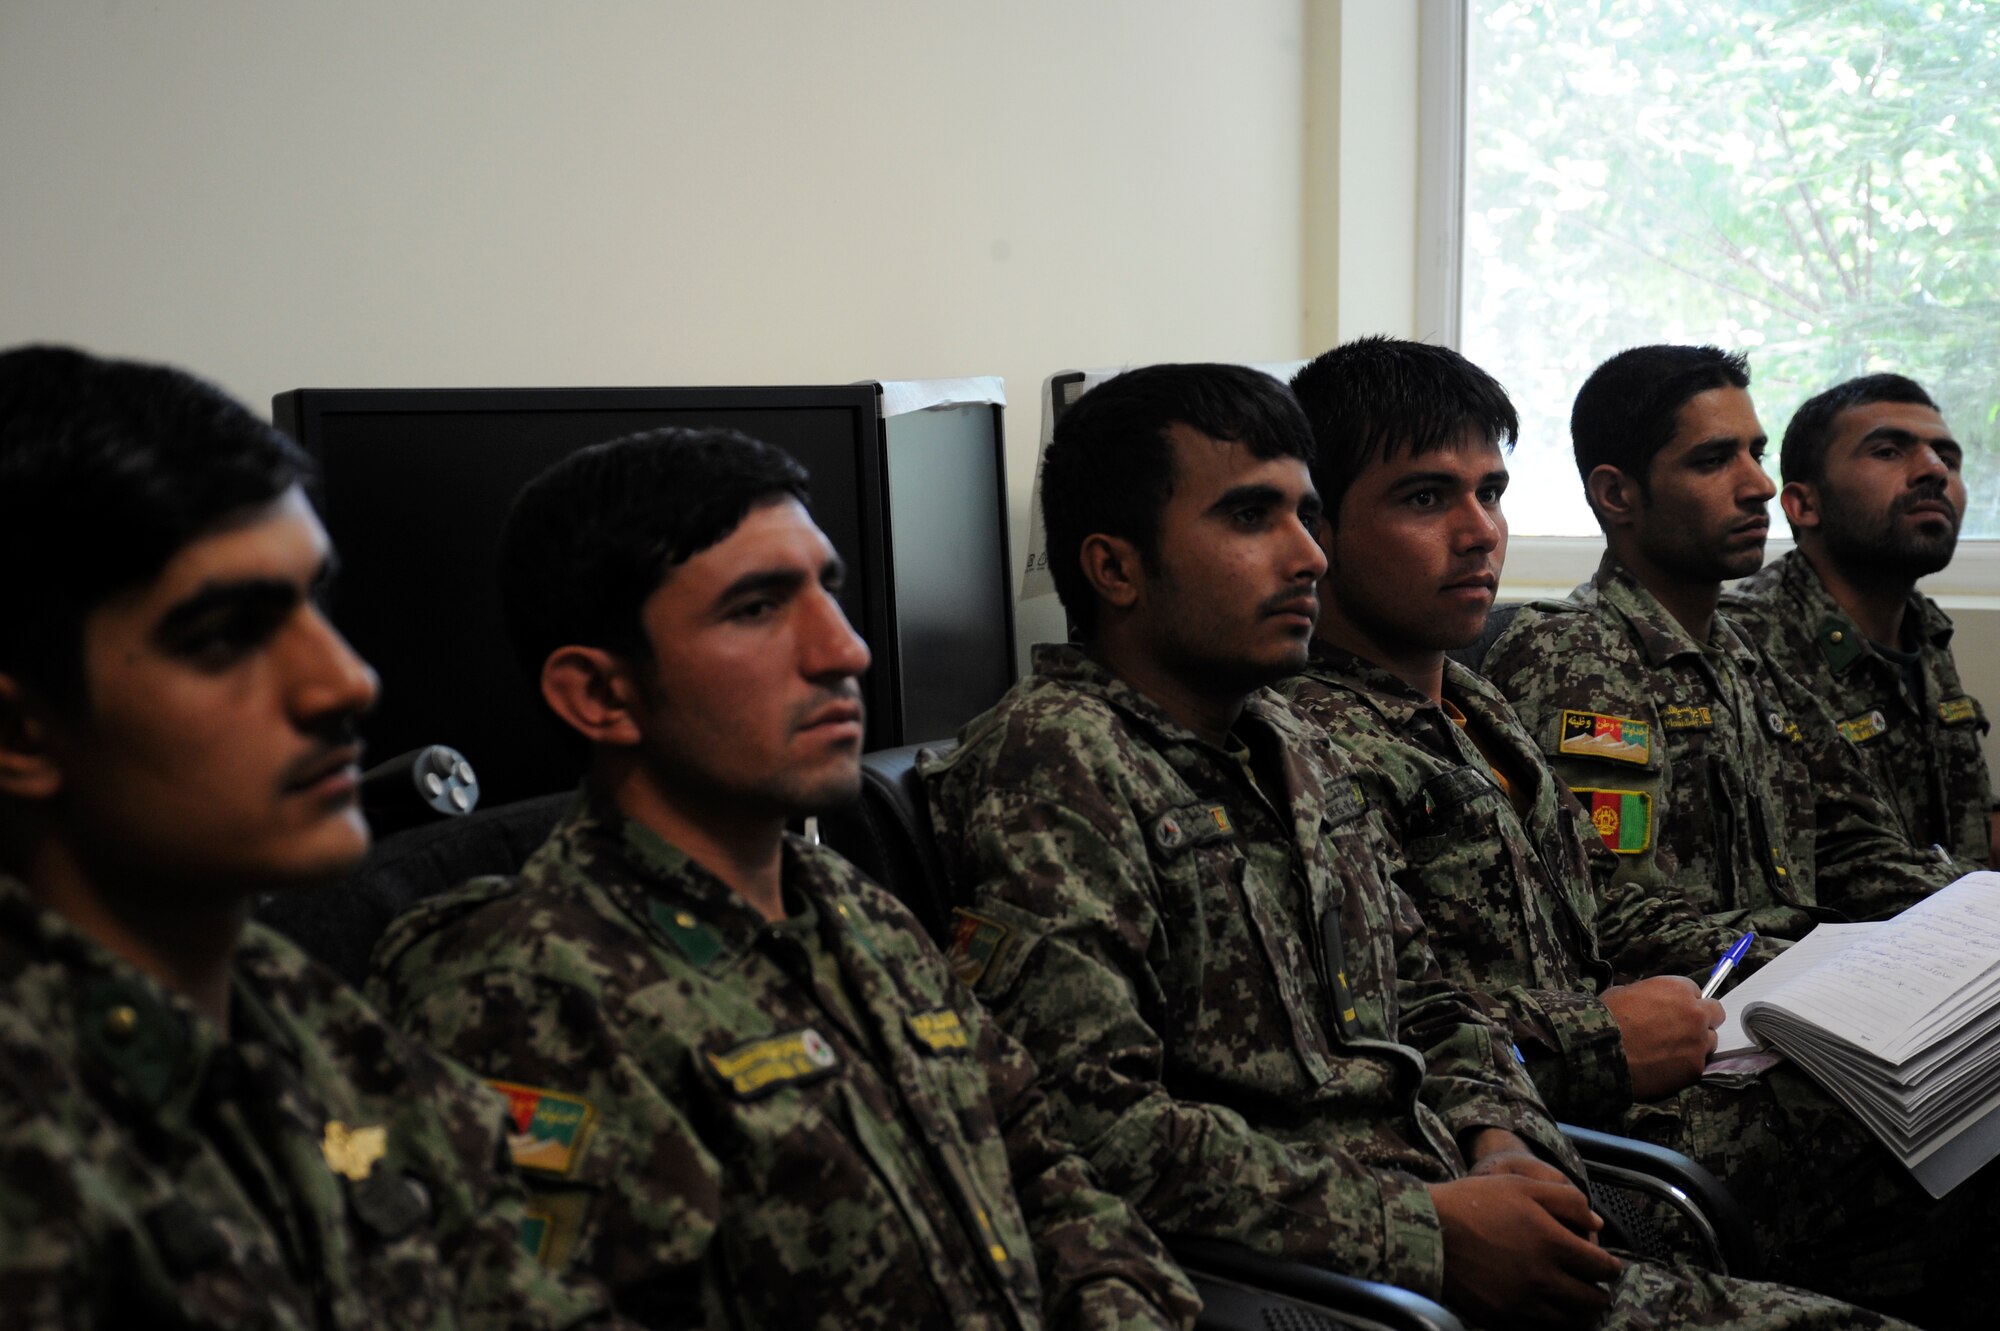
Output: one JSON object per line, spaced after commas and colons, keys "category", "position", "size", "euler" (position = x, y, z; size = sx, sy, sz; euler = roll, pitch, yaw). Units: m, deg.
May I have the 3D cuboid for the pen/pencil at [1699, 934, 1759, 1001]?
{"category": "pen/pencil", "position": [0.912, 0.387, 2.061], "size": [0.017, 0.018, 0.167], "euler": [-4, 18, 43]}

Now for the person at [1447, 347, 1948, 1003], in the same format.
{"category": "person", "position": [1.140, 0.011, 2.436], "size": [0.836, 0.958, 0.793], "euler": [1, 3, 4]}
